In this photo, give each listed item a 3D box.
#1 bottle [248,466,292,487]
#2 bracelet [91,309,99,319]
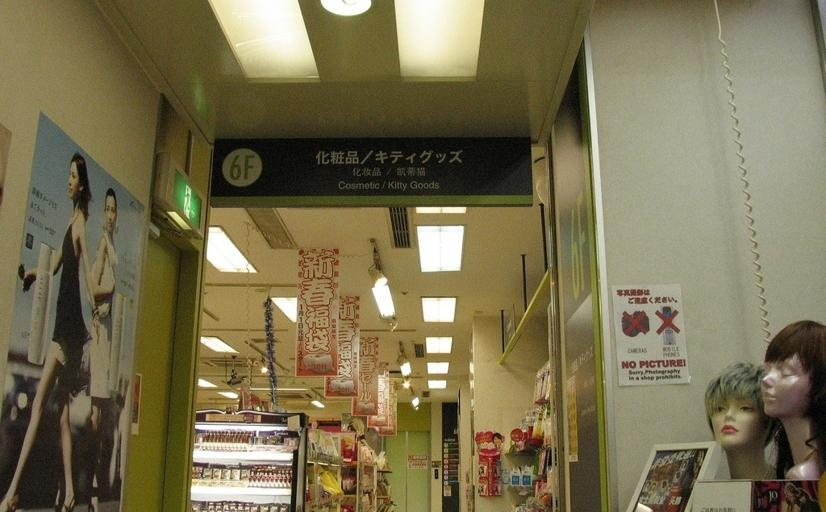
[{"bbox_3d":[-1.316,1.996,5.536,0.349,0.184,0.109,3,-17,-7],"label":"bottle"},{"bbox_3d":[-1.826,0.330,3.491,0.045,0.042,0.076,4,8,-21],"label":"bracelet"}]
